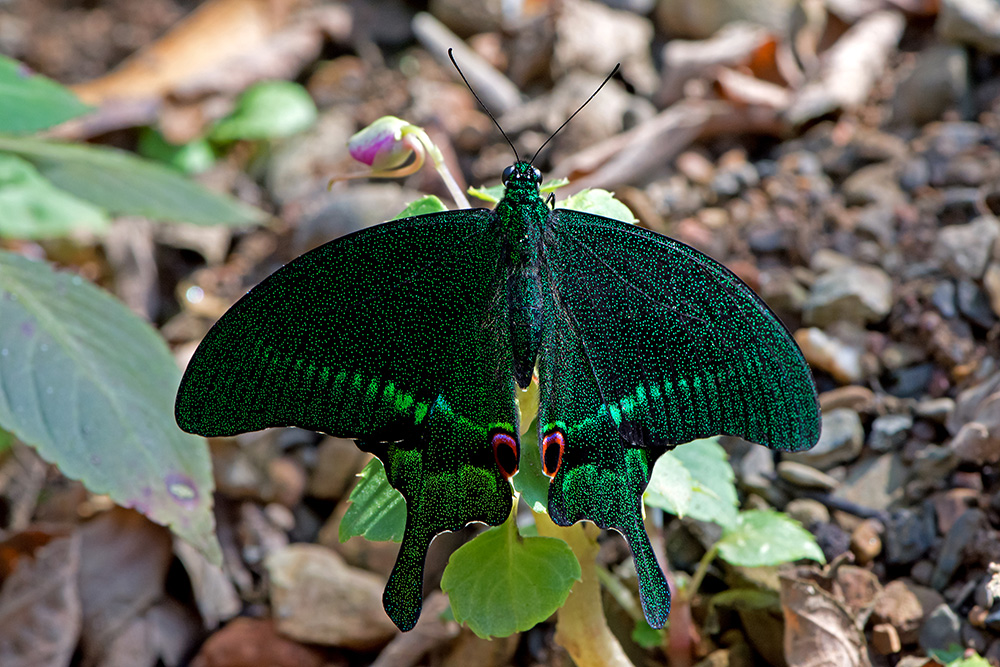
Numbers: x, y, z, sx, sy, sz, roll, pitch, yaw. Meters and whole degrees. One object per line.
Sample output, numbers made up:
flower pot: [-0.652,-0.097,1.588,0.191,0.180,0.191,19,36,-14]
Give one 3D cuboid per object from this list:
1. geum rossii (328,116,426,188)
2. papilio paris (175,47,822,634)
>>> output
geum rossii: [-0.387,-0.568,3.551,0.300,0.275,0.208,-4,-73,-4]
papilio paris: [0.043,0.132,3.350,1.930,0.184,1.613,2,-71,-6]
